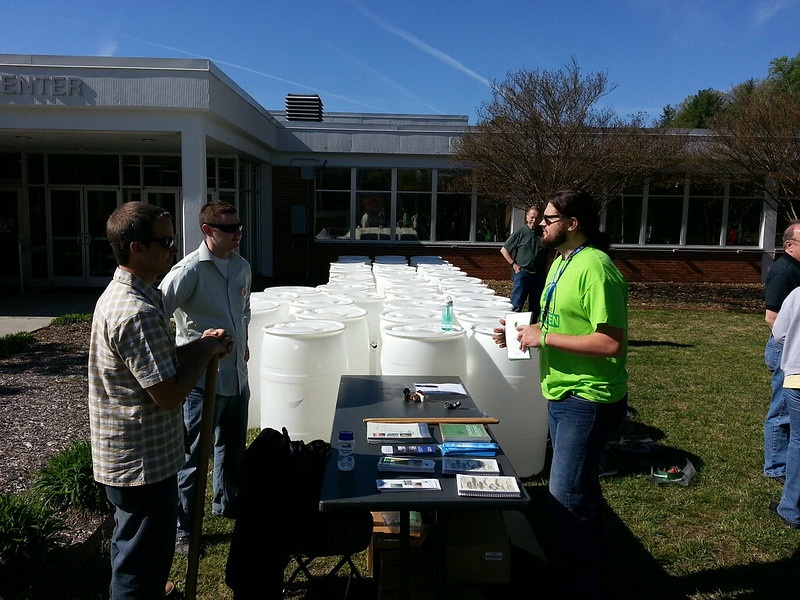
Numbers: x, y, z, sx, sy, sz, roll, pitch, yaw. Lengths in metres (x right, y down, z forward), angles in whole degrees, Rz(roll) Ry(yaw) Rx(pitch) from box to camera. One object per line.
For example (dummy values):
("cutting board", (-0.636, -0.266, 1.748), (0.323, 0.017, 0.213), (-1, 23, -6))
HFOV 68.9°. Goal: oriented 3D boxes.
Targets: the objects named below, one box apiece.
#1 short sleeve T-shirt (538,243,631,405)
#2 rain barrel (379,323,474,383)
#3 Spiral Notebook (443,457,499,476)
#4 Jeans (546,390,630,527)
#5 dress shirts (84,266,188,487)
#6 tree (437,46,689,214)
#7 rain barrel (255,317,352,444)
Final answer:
("short sleeve T-shirt", (1.133, 0.155, 3.603), (0.566, 0.982, 0.364), (6, 10, 28))
("rain barrel", (0.179, 0.592, 5.474), (0.588, 0.683, 0.601), (3, 3, -15))
("Spiral Notebook", (0.410, 0.952, 3.340), (0.324, 0.042, 0.167), (2, 10, 2))
("Jeans", (1.119, 0.938, 3.533), (0.427, 0.719, 0.284), (5, 9, 21))
("dress shirts", (-1.413, 0.415, 3.126), (0.526, 1.145, 0.319), (3, 9, 10))
("tree", (4.180, -3.859, 15.180), (5.000, 4.761, 4.352), (-2, 9, -27))
("rain barrel", (-0.966, 0.545, 5.720), (0.868, 1.488, 0.969), (-1, 49, -11))
